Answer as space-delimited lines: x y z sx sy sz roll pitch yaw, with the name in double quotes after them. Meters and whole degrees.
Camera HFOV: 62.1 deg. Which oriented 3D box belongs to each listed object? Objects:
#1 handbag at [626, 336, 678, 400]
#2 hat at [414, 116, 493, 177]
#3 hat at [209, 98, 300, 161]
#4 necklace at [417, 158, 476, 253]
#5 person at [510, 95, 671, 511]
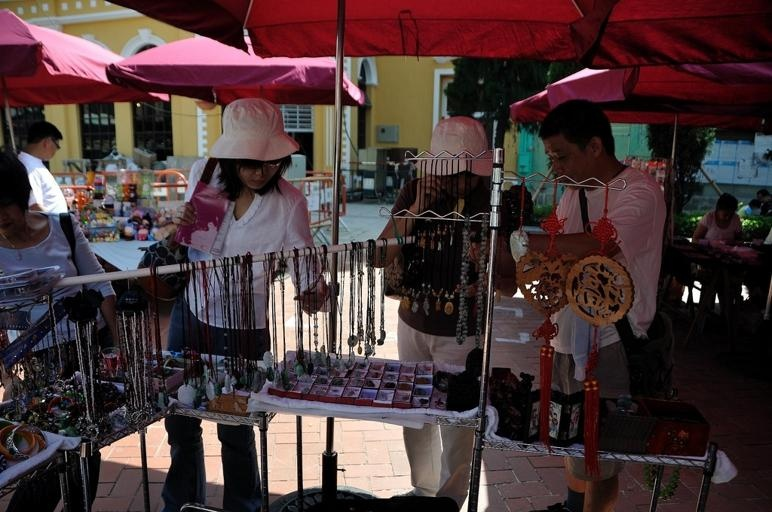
1.734 0.724 4.146 0.289 0.405 0.398 -9 -13 43 "handbag"
0.491 -0.700 4.210 0.382 0.242 0.417 -3 7 -19 "hat"
-0.878 -0.799 4.194 0.427 0.264 0.487 -3 18 -14 "hat"
0.407 -0.376 4.284 0.400 0.476 0.474 -3 -38 17 "necklace"
1.353 0.418 4.177 0.795 2.793 0.823 5 9 22 "person"
